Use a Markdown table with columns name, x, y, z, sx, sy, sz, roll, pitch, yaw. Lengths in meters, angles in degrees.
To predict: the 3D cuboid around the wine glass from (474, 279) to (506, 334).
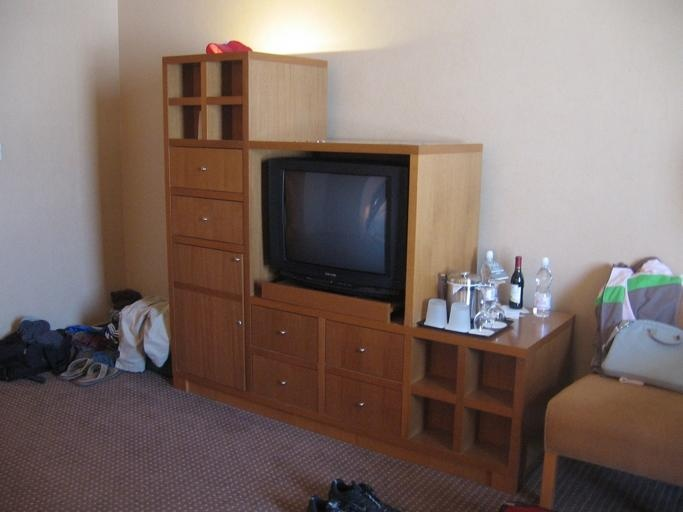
| name | x | y | z | sx | sy | sz | roll | pitch | yaw |
| --- | --- | --- | --- | --- | --- | --- | --- | --- | --- |
| wine glass | 0.780 | 0.246 | 2.992 | 0.151 | 0.212 | 0.327 | 5 | 11 | 19 |

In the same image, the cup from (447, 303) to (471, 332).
| name | x | y | z | sx | sy | sz | roll | pitch | yaw |
| --- | --- | --- | --- | --- | --- | --- | --- | --- | --- |
| cup | 0.597 | 0.313 | 2.948 | 0.126 | 0.140 | 0.126 | 1 | 12 | 0 |

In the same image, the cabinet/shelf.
| name | x | y | z | sx | sy | sz | roll | pitch | yaw |
| --- | --- | --- | --- | --- | --- | --- | --- | --- | --- |
| cabinet/shelf | 0.065 | -0.073 | 3.352 | 2.268 | 2.157 | 0.692 | 9 | 13 | 32 |

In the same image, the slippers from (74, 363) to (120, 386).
| name | x | y | z | sx | sy | sz | roll | pitch | yaw |
| --- | --- | --- | --- | --- | --- | --- | --- | --- | --- |
| slippers | -1.652 | 0.791 | 3.848 | 0.239 | 0.093 | 0.192 | 1 | 11 | -4 |

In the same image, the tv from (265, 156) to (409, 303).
| name | x | y | z | sx | sy | sz | roll | pitch | yaw |
| --- | --- | --- | --- | --- | --- | --- | --- | --- | --- |
| tv | -0.007 | -0.147 | 3.118 | 0.688 | 0.588 | 0.381 | 9 | 14 | 29 |

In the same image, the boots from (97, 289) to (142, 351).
| name | x | y | z | sx | sy | sz | roll | pitch | yaw |
| --- | --- | --- | --- | --- | --- | --- | --- | --- | --- |
| boots | -1.728 | 0.478 | 4.410 | 0.153 | 0.438 | 0.334 | 6 | 2 | 36 |

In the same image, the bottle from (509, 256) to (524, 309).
| name | x | y | z | sx | sy | sz | roll | pitch | yaw |
| --- | --- | --- | --- | --- | --- | --- | --- | --- | --- |
| bottle | 0.979 | 0.143 | 3.170 | 0.072 | 0.290 | 0.120 | 5 | 11 | 16 |

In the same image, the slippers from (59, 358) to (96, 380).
| name | x | y | z | sx | sy | sz | roll | pitch | yaw |
| --- | --- | --- | --- | --- | --- | --- | --- | --- | --- |
| slippers | -1.806 | 0.781 | 3.884 | 0.089 | 0.069 | 0.225 | 3 | 14 | 11 |

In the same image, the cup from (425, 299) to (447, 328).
| name | x | y | z | sx | sy | sz | roll | pitch | yaw |
| --- | --- | --- | --- | --- | --- | --- | --- | --- | --- |
| cup | 0.486 | 0.296 | 2.999 | 0.128 | 0.143 | 0.128 | 0 | 10 | 0 |
